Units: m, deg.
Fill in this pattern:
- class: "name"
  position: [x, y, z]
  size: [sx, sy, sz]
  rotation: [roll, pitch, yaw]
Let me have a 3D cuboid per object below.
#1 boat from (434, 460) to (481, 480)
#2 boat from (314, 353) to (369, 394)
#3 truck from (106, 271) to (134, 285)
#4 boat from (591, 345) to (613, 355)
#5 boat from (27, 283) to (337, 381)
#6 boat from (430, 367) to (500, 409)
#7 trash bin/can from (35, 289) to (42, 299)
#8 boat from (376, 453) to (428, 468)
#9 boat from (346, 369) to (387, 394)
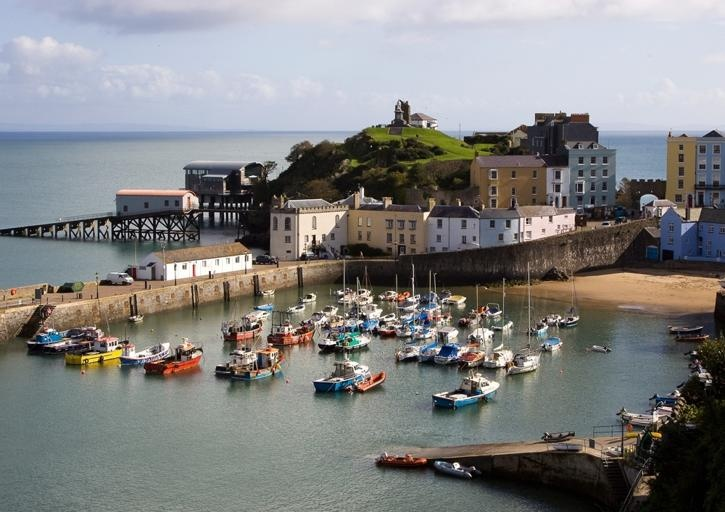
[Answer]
- class: "boat"
  position: [4.714, 10.671, 46.463]
  size: [1.672, 0.571, 0.906]
  rotation: [8, 21, 20]
- class: "boat"
  position: [-0.965, 7.472, 58.073]
  size: [1.513, 1.623, 3.832]
  rotation: [1, 3, 28]
- class: "truck"
  position: [-20.300, 1.861, 77.109]
  size: [2.014, 0.919, 1.098]
  rotation: [-2, 3, 20]
- class: "boat"
  position: [16.590, 6.383, 64.097]
  size: [1.434, 0.185, 1.618]
  rotation: [3, 14, 13]
- class: "boat"
  position: [-13.951, 4.726, 68.812]
  size: [14.594, 2.970, 19.800]
  rotation: [10, 17, 36]
- class: "boat"
  position: [6.029, 7.960, 55.020]
  size: [4.153, 1.256, 1.872]
  rotation: [-9, 16, -32]
- class: "trash bin/can"
  position: [-24.721, 2.852, 69.986]
  size: [0.448, 0.637, 0.642]
  rotation: [1, 5, 8]
- class: "boat"
  position: [1.991, 10.522, 47.590]
  size: [2.047, 0.650, 1.007]
  rotation: [0, 6, 10]
- class: "boat"
  position: [0.374, 7.825, 57.547]
  size: [2.072, 0.743, 0.988]
  rotation: [-26, 27, -38]
